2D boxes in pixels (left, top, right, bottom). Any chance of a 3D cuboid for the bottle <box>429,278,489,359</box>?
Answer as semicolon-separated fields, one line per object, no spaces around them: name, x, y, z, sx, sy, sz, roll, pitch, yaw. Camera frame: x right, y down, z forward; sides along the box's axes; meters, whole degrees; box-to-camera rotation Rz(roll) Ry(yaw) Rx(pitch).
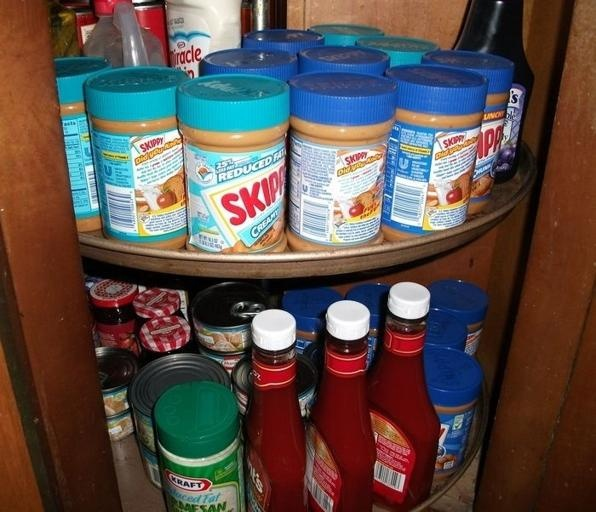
bottle;0.235;0.098;0.891;0.118;0.119;0.113;2;36;1

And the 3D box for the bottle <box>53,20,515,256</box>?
bottle;-0.028;-0.158;0.734;0.499;0.338;0.259;-7;38;-13

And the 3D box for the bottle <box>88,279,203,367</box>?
bottle;-0.245;0.090;0.831;0.136;0.199;0.132;3;35;-2

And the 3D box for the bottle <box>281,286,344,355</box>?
bottle;0.022;0.086;0.799;0.093;0.083;0.088;3;36;1
